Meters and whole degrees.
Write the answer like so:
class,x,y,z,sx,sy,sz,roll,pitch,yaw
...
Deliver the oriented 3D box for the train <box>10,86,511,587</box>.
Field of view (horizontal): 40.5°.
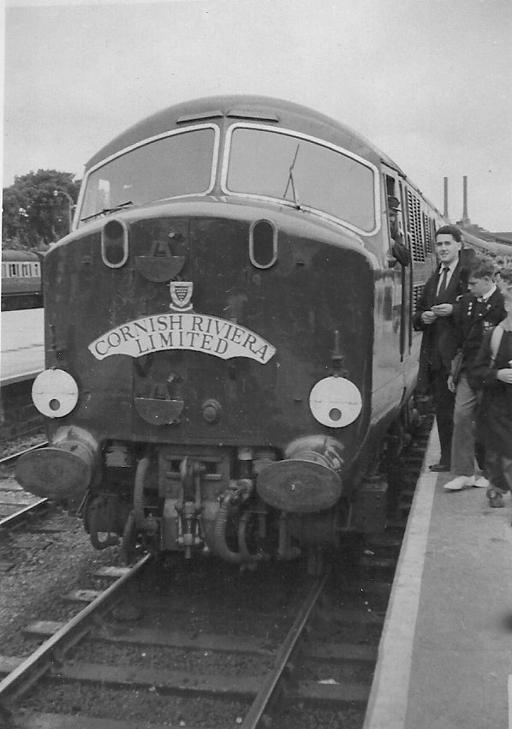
class,x,y,z,sx,sy,sz,roll,pitch,yaw
train,0.560,-0.576,6.806,2.202,3.172,6.681,5,10,18
